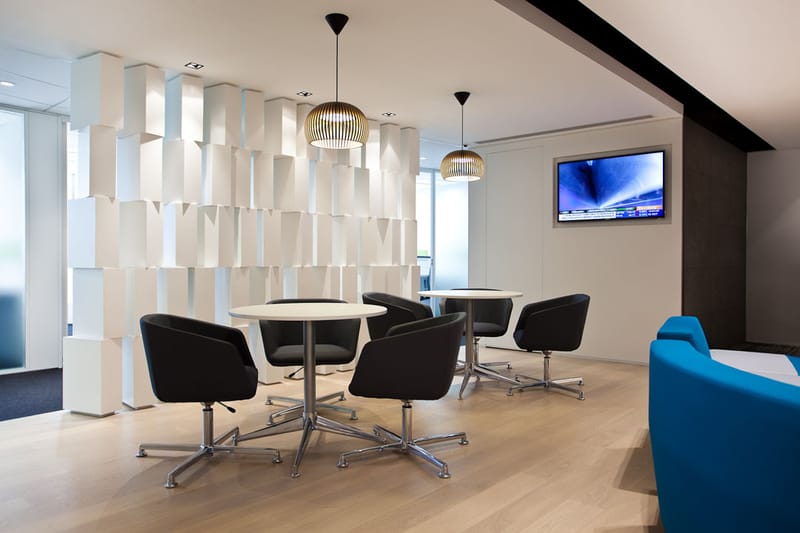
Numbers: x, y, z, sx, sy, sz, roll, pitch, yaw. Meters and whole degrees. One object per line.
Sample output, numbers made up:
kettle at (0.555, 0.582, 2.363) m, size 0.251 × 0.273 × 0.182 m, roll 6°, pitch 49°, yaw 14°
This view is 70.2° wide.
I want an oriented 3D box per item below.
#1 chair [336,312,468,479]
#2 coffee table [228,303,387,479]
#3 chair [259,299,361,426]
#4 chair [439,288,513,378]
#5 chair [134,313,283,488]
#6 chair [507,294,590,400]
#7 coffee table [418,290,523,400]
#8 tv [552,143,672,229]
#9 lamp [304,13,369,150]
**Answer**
chair at (0.103, 1.036, 4.900) m, size 1.009 × 1.193 × 0.942 m, roll 3°, pitch 1°, yaw 3°
coffee table at (-0.830, 0.946, 5.090) m, size 1.314 × 1.164 × 1.360 m, roll -1°, pitch 0°, yaw -42°
chair at (-0.865, 0.937, 5.681) m, size 1.064 × 1.169 × 1.080 m, roll 1°, pitch -1°, yaw -8°
chair at (0.881, 0.794, 7.129) m, size 1.005 × 1.028 × 1.021 m, roll 3°, pitch -2°, yaw -13°
chair at (-1.385, 1.061, 5.003) m, size 1.291 × 1.182 × 1.325 m, roll 1°, pitch -3°, yaw -3°
chair at (1.790, 0.925, 6.735) m, size 1.104 × 1.284 × 1.106 m, roll 0°, pitch -4°, yaw 1°
coffee table at (0.767, 0.836, 6.775) m, size 1.187 × 1.126 × 1.232 m, roll -2°, pitch 13°, yaw 6°
tv at (3.044, -1.148, 8.024) m, size 1.347 × 0.883 × 0.134 m, roll 0°, pitch -2°, yaw 33°
lamp at (-0.658, -1.768, 5.644) m, size 0.566 × 1.138 × 1.133 m, roll -2°, pitch 9°, yaw -13°
